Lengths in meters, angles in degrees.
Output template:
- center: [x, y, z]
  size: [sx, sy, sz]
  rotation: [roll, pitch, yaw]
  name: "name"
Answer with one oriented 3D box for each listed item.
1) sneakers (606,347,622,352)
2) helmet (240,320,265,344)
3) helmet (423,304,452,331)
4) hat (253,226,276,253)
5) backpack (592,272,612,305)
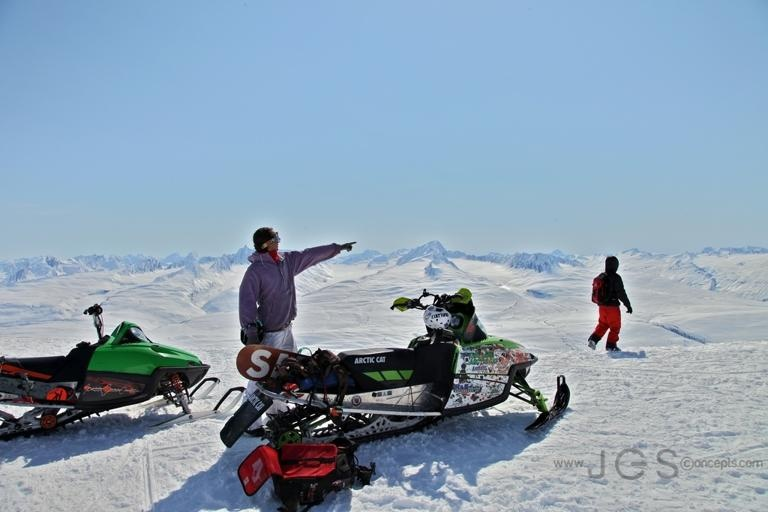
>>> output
- center: [5.521, 2.227, 14.500]
  size: [0.261, 0.088, 0.126]
  rotation: [3, 9, -6]
  name: "sneakers"
- center: [-2.001, 1.228, 9.784]
  size: [0.375, 0.358, 0.412]
  rotation: [2, -8, 1]
  name: "helmet"
- center: [0.883, 1.013, 9.906]
  size: [0.532, 0.338, 0.347]
  rotation: [-3, 6, -6]
  name: "helmet"
- center: [-1.966, -0.267, 10.050]
  size: [0.346, 0.424, 0.147]
  rotation: [-2, 0, -7]
  name: "hat"
- center: [5.314, 0.789, 14.819]
  size: [0.321, 0.755, 0.509]
  rotation: [-2, 0, -1]
  name: "backpack"
